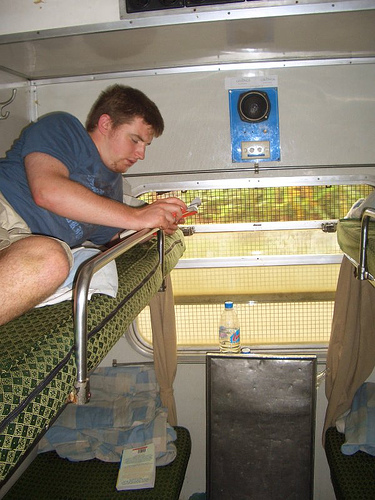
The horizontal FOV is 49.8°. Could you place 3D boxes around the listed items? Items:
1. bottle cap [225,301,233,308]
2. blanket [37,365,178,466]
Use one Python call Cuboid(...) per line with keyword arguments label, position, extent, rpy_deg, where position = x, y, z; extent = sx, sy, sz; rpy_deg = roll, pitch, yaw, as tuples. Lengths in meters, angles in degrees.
Cuboid(label="bottle cap", position=(0.275, 0.364, 2.729), extent=(0.040, 0.029, 0.039), rpy_deg=(-6, 11, -25))
Cuboid(label="blanket", position=(-0.127, 1.092, 3.527), extent=(1.261, 0.393, 1.318), rpy_deg=(15, -6, 21))
